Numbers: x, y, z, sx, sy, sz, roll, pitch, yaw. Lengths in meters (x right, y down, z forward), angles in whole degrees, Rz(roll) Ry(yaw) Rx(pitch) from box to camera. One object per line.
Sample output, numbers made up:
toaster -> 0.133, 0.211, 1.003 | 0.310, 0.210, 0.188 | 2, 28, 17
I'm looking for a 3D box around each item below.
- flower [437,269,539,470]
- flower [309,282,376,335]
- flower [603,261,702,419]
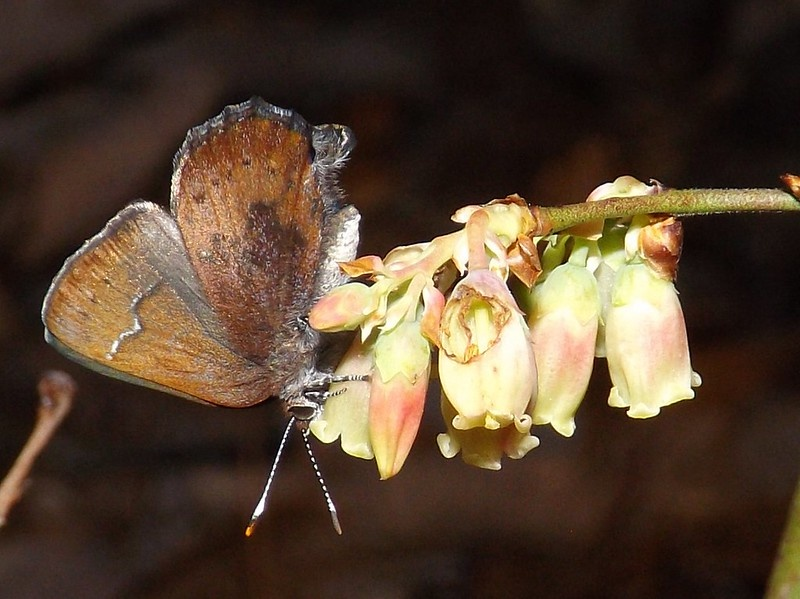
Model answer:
flower -> 0.164, 0.148, 1.641 | 0.182, 0.373, 0.195 | -14, 37, -23
flower -> -0.108, 0.014, 1.654 | 0.128, 0.082, 0.055 | -2, 34, -7
flower -> 0.491, 0.075, 1.704 | 0.171, 0.231, 0.205 | 3, 34, 0
